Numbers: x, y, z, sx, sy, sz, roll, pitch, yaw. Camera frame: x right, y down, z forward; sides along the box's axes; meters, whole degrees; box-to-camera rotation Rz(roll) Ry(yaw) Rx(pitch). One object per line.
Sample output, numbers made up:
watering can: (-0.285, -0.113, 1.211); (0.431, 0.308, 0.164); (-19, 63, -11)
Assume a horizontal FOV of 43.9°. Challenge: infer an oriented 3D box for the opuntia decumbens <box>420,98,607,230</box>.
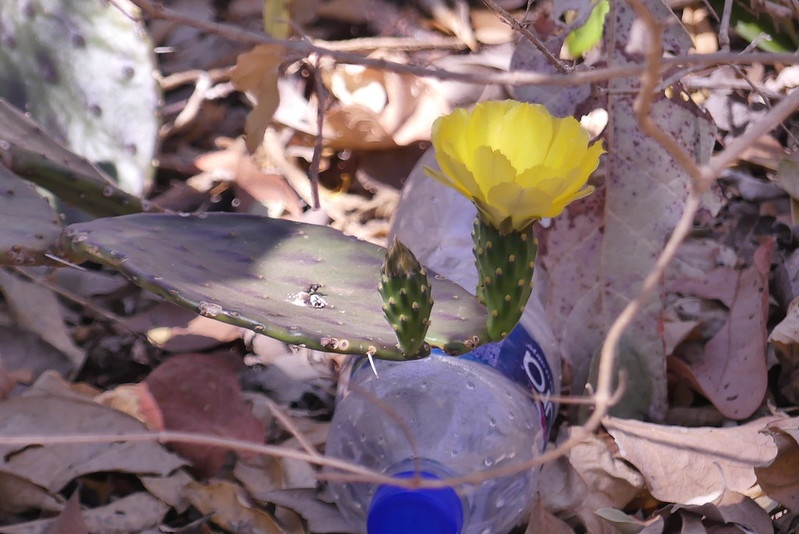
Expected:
opuntia decumbens: (0.150, -0.098, 1.326); (0.170, 0.114, 0.174); (23, 8, 5)
